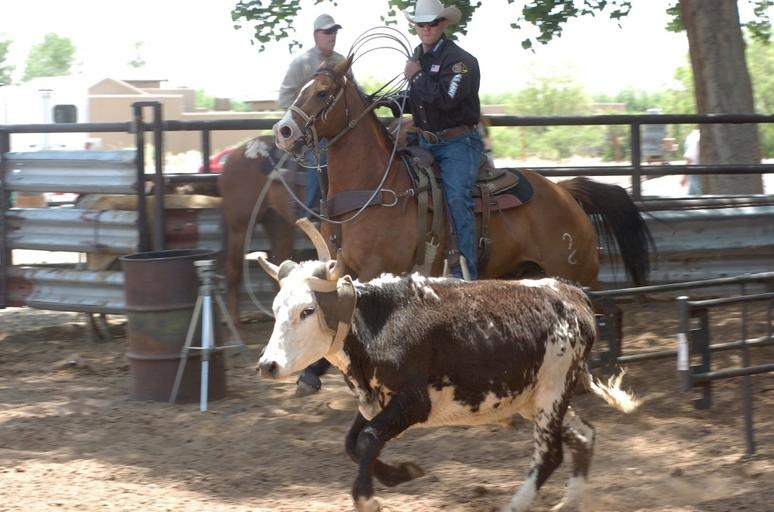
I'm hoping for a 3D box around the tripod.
[{"bbox_3d":[-1.858,0.798,10.087,0.750,1.468,0.416,-4,1,-35],"label":"tripod"}]

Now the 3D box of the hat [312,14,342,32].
[{"bbox_3d":[-0.714,-2.766,11.410,0.302,0.180,0.254,-2,0,-1],"label":"hat"}]
